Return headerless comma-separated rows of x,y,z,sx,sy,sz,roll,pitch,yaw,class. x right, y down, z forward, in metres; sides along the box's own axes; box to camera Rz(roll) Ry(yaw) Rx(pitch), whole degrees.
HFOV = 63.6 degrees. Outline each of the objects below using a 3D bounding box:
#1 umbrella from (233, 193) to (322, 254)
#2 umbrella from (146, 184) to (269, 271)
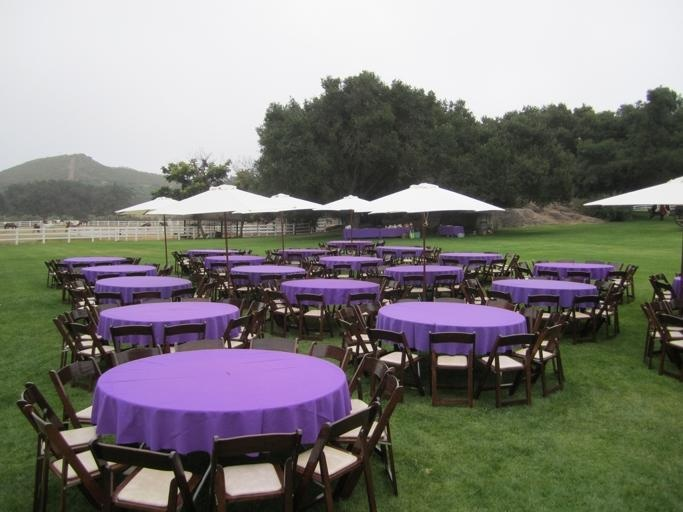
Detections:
-1.609,-0.923,15.083,2.031,1.703,2.065,5,5,42,umbrella
-2.559,-0.819,11.698,1.796,1.374,1.972,-1,3,6,umbrella
